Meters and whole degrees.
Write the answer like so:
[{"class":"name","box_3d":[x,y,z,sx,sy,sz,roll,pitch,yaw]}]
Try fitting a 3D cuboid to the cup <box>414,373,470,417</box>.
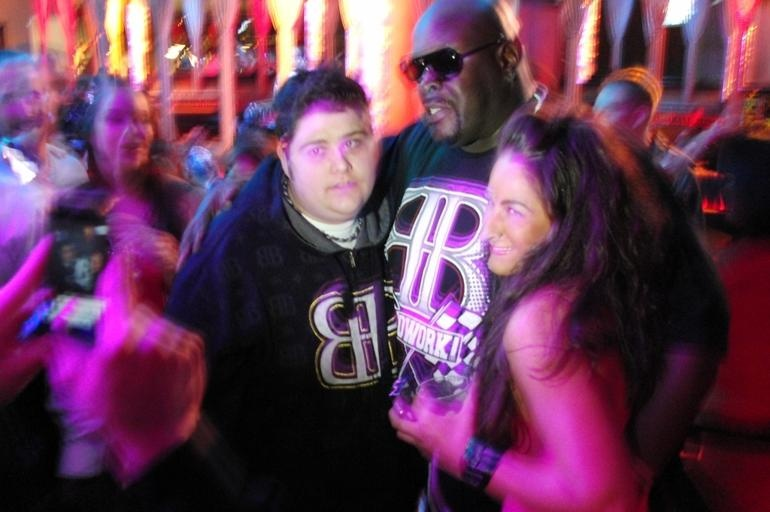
[{"class":"cup","box_3d":[0.233,0.564,2.562,0.212,0.104,0.217,0,11,0]}]
